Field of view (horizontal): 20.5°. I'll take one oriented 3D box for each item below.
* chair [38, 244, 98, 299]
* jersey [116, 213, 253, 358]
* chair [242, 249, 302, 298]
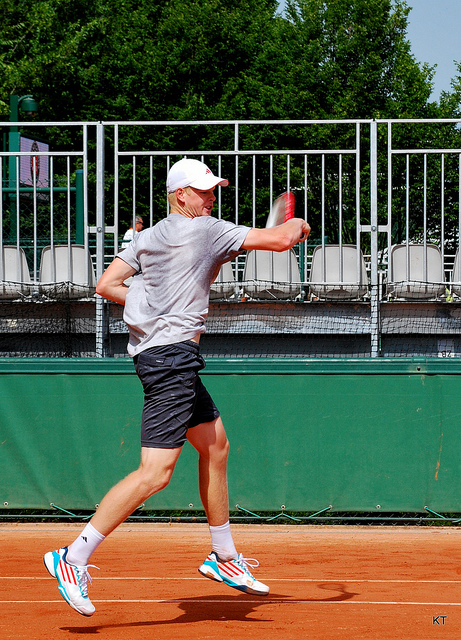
[{"bbox_3d":[-1.416,-0.399,10.977,0.530,0.486,0.385,-1,-4,-1],"label":"chair"},{"bbox_3d":[-0.343,-0.150,7.524,0.868,0.933,0.463,-1,-20,15],"label":"jersey"},{"bbox_3d":[0.347,-0.387,10.923,0.503,0.467,0.410,0,0,5],"label":"chair"}]
